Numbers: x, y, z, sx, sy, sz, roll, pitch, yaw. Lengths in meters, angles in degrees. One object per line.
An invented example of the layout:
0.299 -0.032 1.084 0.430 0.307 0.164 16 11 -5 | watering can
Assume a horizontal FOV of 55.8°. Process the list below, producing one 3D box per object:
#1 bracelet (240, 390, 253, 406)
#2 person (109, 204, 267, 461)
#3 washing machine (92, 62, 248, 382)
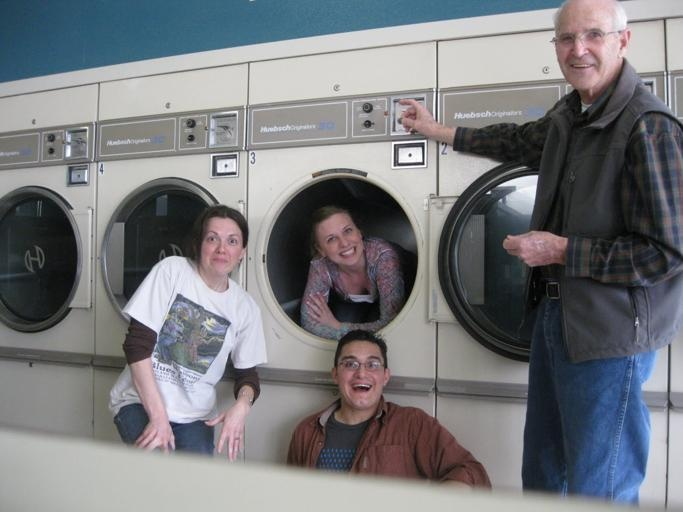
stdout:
-0.401 0.601 2.760 0.059 0.061 0.053 -23 -36 38 | bracelet
-0.615 0.302 2.772 0.503 1.070 0.412 2 -9 10 | person
-0.821 -0.046 3.317 0.812 1.538 0.817 -4 -22 -4 | washing machine
